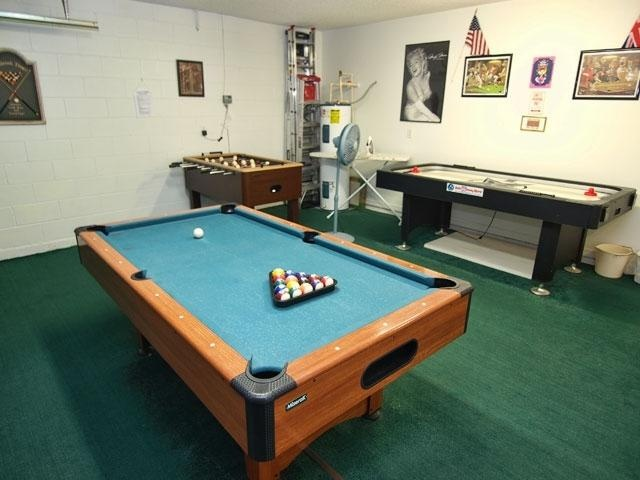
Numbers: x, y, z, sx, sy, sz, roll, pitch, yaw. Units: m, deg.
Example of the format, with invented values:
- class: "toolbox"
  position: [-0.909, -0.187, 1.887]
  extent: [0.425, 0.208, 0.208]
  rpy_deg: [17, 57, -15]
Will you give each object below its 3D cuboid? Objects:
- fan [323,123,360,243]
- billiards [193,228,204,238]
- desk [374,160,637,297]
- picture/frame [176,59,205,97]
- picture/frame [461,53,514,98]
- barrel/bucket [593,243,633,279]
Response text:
- class: "fan"
  position: [0.241, -0.695, 5.395]
  extent: [0.407, 1.347, 0.476]
  rpy_deg: [6, 16, 16]
- class: "billiards"
  position: [-0.943, -0.050, 3.406]
  extent: [0.078, 0.089, 0.078]
  rpy_deg: [4, -3, 15]
- class: "desk"
  position: [2.027, -0.126, 4.658]
  extent: [0.642, 0.640, 1.400]
  rpy_deg: [-15, 26, -36]
- class: "picture/frame"
  position: [-1.723, -2.141, 5.872]
  extent: [0.037, 0.533, 0.483]
  rpy_deg: [12, 17, 39]
- class: "picture/frame"
  position: [2.007, -1.983, 5.405]
  extent: [0.066, 0.479, 0.597]
  rpy_deg: [-19, 28, -40]
- class: "barrel/bucket"
  position: [3.048, 0.220, 4.692]
  extent: [0.377, 0.293, 0.316]
  rpy_deg: [0, 5, -37]
